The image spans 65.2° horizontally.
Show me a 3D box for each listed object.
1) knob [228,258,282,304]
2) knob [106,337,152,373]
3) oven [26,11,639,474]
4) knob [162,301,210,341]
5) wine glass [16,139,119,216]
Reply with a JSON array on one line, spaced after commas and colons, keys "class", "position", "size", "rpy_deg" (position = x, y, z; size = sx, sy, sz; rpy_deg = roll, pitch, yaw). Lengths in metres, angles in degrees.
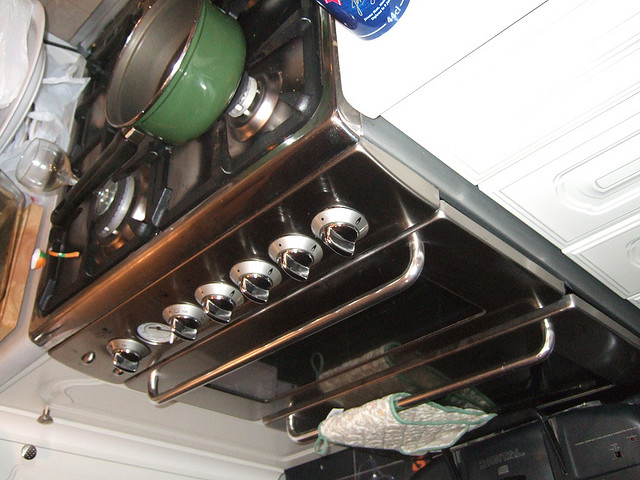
[{"class": "knob", "position": [-0.127, 0.085, 0.956], "size": [0.099, 0.064, 0.088], "rpy_deg": [21, -52, -18]}, {"class": "knob", "position": [-0.449, 0.264, 1.206], "size": [0.088, 0.045, 0.091], "rpy_deg": [-21, -53, 24]}, {"class": "oven", "position": [0.031, 0.125, 1.216], "size": [1.300, 0.641, 0.967], "rpy_deg": [27, -53, -22]}, {"class": "knob", "position": [-0.287, 0.173, 1.072], "size": [0.099, 0.048, 0.099], "rpy_deg": [7, -45, 1]}, {"class": "wine glass", "position": [-0.632, -0.152, 1.251], "size": [0.106, 0.106, 0.265], "rpy_deg": [-37, -24, 31]}]
